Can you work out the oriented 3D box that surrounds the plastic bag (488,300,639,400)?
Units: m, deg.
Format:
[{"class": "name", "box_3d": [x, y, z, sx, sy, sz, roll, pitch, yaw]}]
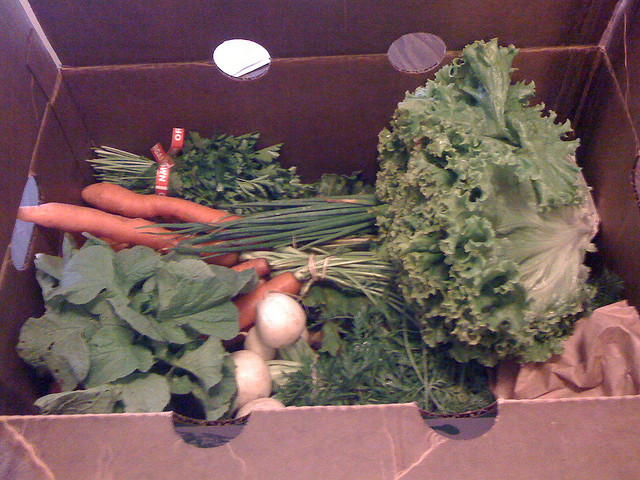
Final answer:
[{"class": "plastic bag", "box_3d": [0.889, 0.409, 1.921, 0.540, 0.118, 0.428, -7, 24, 13]}]

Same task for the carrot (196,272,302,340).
[{"class": "carrot", "box_3d": [-0.214, 0.248, 2.274, 0.555, 0.123, 0.121, -23, -33, -6]}]

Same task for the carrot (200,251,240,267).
[{"class": "carrot", "box_3d": [-0.410, 0.082, 2.260, 0.139, 0.055, 0.051, 4, -40, -6]}]

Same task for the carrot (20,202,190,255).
[{"class": "carrot", "box_3d": [-0.854, -0.099, 2.186, 0.933, 0.110, 0.136, 3, 9, 26]}]
